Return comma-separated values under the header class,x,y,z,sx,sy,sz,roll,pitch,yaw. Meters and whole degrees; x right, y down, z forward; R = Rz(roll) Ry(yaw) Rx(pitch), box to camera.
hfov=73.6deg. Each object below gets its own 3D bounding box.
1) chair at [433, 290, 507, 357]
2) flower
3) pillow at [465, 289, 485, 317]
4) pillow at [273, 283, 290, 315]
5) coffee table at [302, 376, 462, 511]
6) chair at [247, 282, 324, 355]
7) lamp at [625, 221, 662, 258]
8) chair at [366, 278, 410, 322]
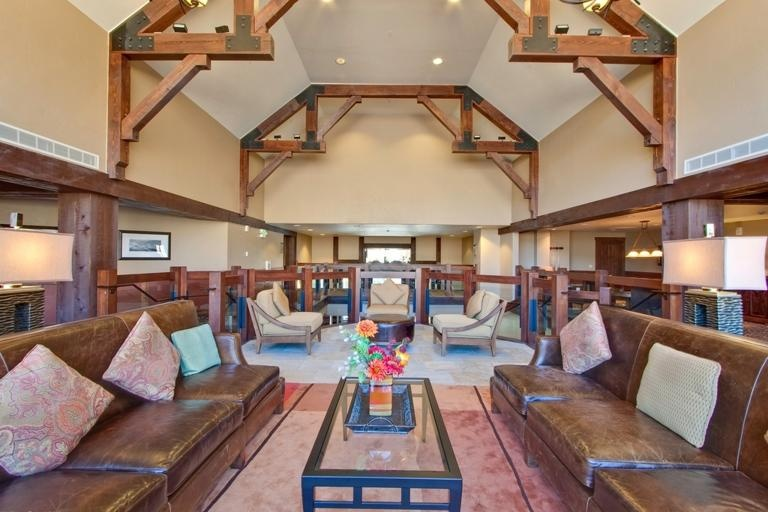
class,x,y,z,sx,sy,sz,roll,pitch,yaw
chair,1.285,0.933,7.709,0.966,0.843,1.010,1,-3,3
flower,-0.075,1.009,5.318,0.634,0.650,0.429,-2,0,13
pillow,1.358,0.700,7.616,0.117,0.352,0.320,17,24,5
pillow,-1.632,0.623,7.652,0.104,0.384,0.436,-19,-25,8
coffee table,-0.017,1.440,4.842,1.050,0.816,1.598,-1,13,0
chair,-1.504,0.961,7.873,0.943,0.978,1.197,0,-2,-3
lamp,6.758,-0.408,13.025,1.029,0.723,1.033,1,2,19
chair,0.028,0.672,8.632,0.561,0.761,0.632,0,-3,5
